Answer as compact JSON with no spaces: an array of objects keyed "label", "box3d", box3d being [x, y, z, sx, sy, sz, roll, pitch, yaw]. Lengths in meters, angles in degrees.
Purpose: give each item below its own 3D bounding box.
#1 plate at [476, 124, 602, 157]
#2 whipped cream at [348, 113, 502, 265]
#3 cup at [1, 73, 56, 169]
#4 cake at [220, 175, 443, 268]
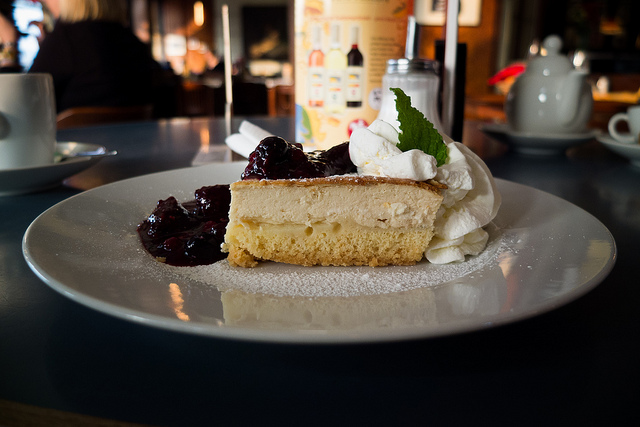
[{"label":"plate","box3d":[0.936,-0.309,2.351,0.271,0.059,0.256,-3,8,-29]},{"label":"whipped cream","box3d":[0.334,-0.092,1.648,0.402,0.407,0.390,-3,11,-25]},{"label":"cup","box3d":[-0.976,-0.311,1.859,0.178,0.297,0.255,4,12,34]},{"label":"cake","box3d":[0.053,0.021,1.628,0.630,0.261,0.194,-1,9,-1]}]
